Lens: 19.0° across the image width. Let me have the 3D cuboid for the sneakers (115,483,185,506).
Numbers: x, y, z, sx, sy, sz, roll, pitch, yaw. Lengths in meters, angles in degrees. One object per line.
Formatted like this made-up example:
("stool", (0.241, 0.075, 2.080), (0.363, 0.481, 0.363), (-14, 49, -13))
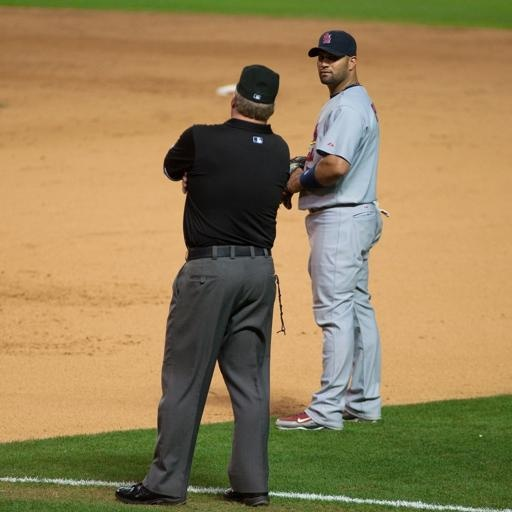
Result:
("sneakers", (-0.720, 1.624, 10.524), (0.441, 0.191, 0.179), (8, -7, 4))

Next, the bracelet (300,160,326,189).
("bracelet", (0.430, -0.605, 11.724), (0.141, 0.165, 0.170), (-3, 34, 38))

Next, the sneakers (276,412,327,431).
("sneakers", (0.354, 1.277, 11.803), (0.383, 0.164, 0.146), (4, -5, 1))

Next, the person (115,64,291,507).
("person", (-0.239, 0.216, 10.551), (0.917, 3.044, 0.584), (5, 8, -5))

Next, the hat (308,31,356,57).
("hat", (0.602, -1.615, 11.786), (0.289, 0.168, 0.210), (5, 4, -35))

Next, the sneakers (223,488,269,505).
("sneakers", (-0.064, 1.696, 10.638), (0.302, 0.143, 0.115), (9, 6, 28))
